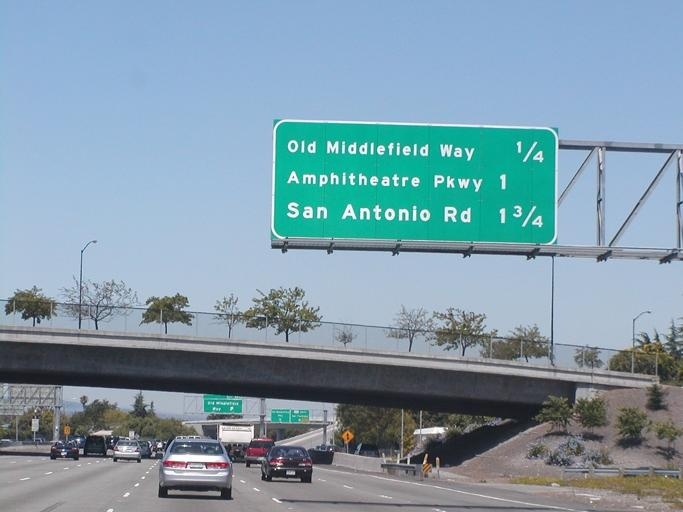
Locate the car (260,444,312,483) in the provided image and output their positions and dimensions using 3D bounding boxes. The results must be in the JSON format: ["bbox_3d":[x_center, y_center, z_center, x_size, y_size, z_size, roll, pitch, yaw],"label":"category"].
[{"bbox_3d":[-4.093,15.493,134.213,3.383,2.838,4.408,4,-13,-15],"label":"car"}]
